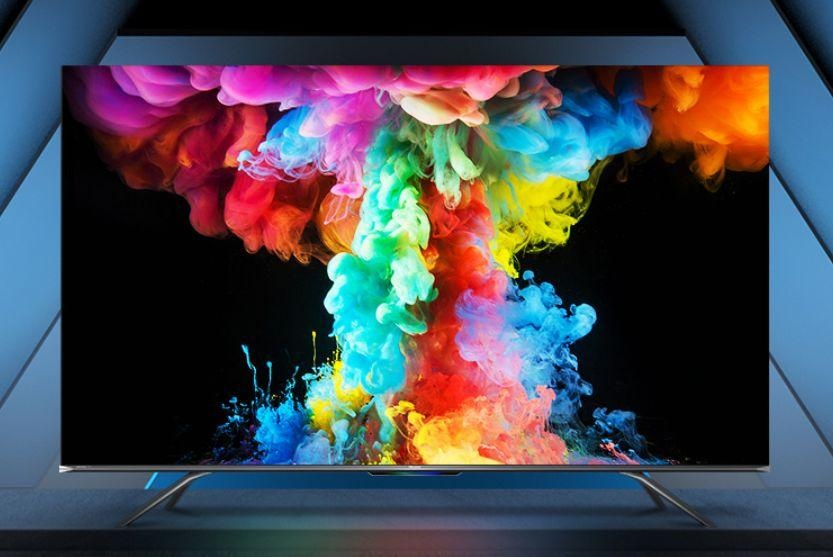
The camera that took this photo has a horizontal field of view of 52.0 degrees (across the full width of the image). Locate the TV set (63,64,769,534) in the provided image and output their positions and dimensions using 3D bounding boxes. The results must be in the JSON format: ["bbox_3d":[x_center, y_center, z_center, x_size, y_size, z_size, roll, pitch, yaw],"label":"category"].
[{"bbox_3d":[-0.007,0.004,4.411,2.513,1.552,0.622,1,0,3],"label":"TV set"}]
